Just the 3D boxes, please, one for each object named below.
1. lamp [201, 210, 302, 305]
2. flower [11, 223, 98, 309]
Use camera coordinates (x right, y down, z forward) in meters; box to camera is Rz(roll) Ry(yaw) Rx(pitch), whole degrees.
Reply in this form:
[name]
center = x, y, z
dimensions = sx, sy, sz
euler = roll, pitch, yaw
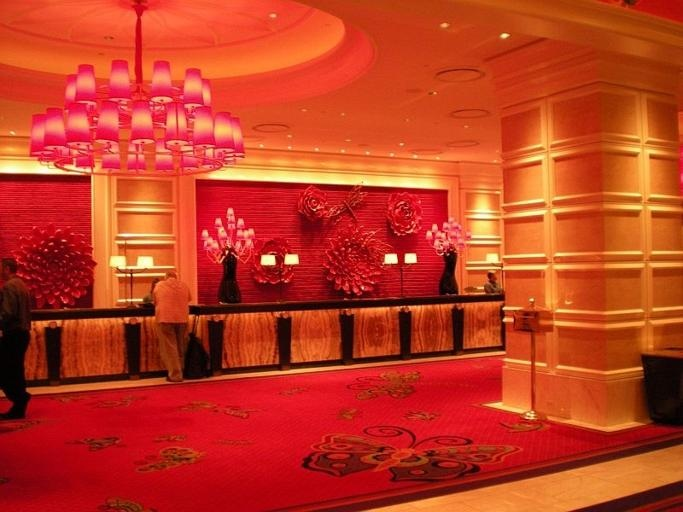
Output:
[lamp]
center = -2.046, 0.056, 10.954
dimensions = 2.845, 1.896, 1.017
euler = 1, -4, -23
[flower]
center = -5.365, 0.178, 9.504
dimensions = 2.133, 1.558, 0.694
euler = -3, -1, -33
